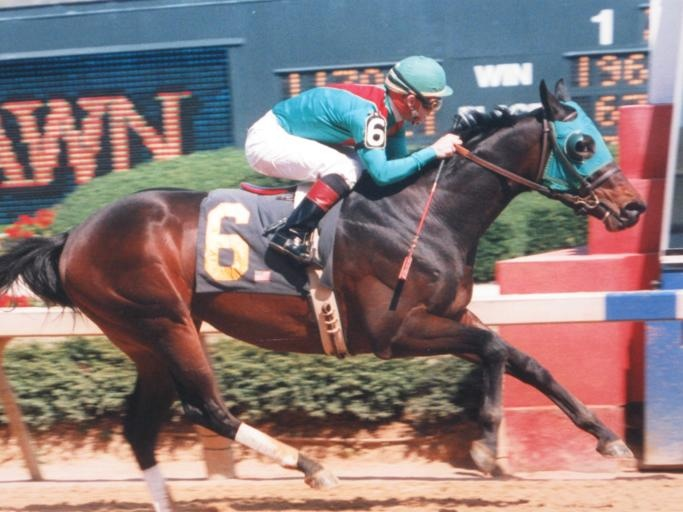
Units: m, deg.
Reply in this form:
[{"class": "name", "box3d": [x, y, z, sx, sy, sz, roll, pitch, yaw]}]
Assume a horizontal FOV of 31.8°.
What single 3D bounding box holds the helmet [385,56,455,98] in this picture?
[{"class": "helmet", "box3d": [0.378, -0.962, 6.243, 0.450, 0.147, 0.253, 2, 34, -12]}]
